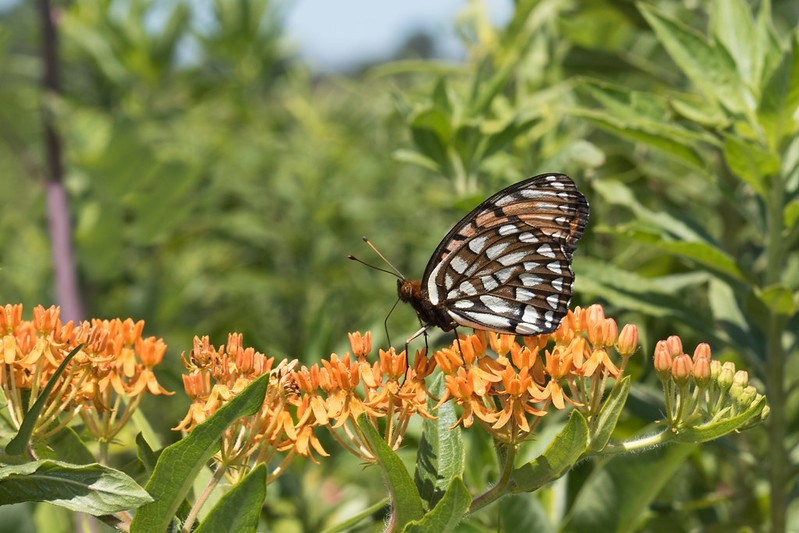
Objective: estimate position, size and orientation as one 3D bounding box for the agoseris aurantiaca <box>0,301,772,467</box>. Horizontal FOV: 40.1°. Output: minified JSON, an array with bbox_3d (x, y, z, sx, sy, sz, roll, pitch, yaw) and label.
[{"bbox_3d":[0.022,0.363,3.331,2.227,0.615,0.569,2,91,3],"label":"agoseris aurantiaca"}]
